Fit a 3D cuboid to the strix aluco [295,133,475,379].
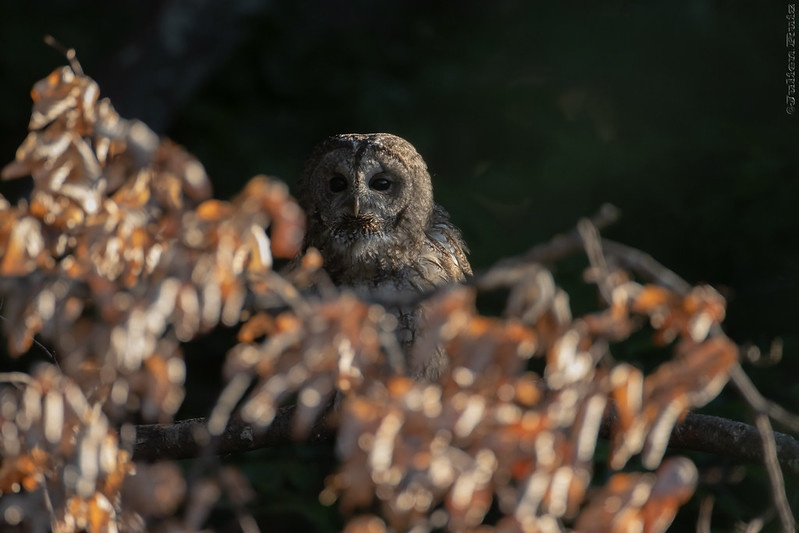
[{"bbox_3d":[-0.069,0.017,4.045,0.553,0.813,0.538,2,-6,-7],"label":"strix aluco"}]
